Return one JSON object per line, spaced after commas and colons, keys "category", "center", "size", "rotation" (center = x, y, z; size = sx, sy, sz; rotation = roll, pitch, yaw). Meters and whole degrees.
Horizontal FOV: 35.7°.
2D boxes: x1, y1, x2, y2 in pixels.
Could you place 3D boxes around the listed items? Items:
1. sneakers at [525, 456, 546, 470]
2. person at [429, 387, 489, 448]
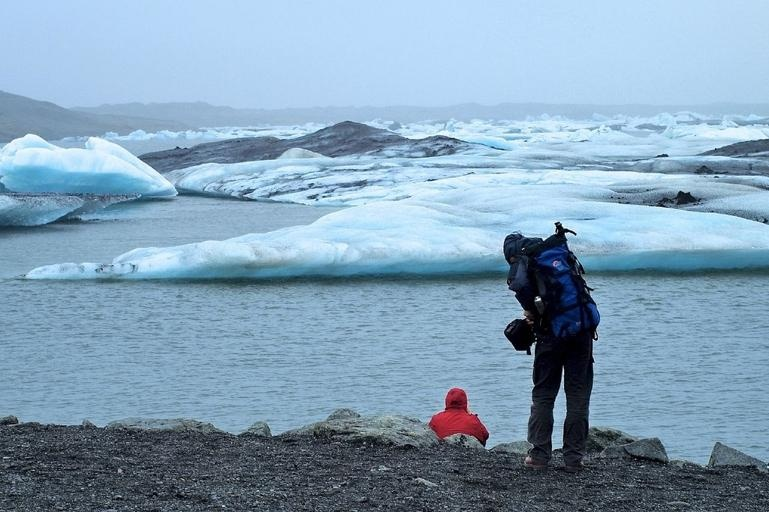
{"category": "sneakers", "center": [2.107, 2.903, 16.763], "size": [0.176, 0.095, 0.352], "rotation": [-9, 16, -44]}
{"category": "person", "center": [1.084, 2.312, 17.356], "size": [0.817, 0.776, 0.279], "rotation": [-1, 7, 1]}
